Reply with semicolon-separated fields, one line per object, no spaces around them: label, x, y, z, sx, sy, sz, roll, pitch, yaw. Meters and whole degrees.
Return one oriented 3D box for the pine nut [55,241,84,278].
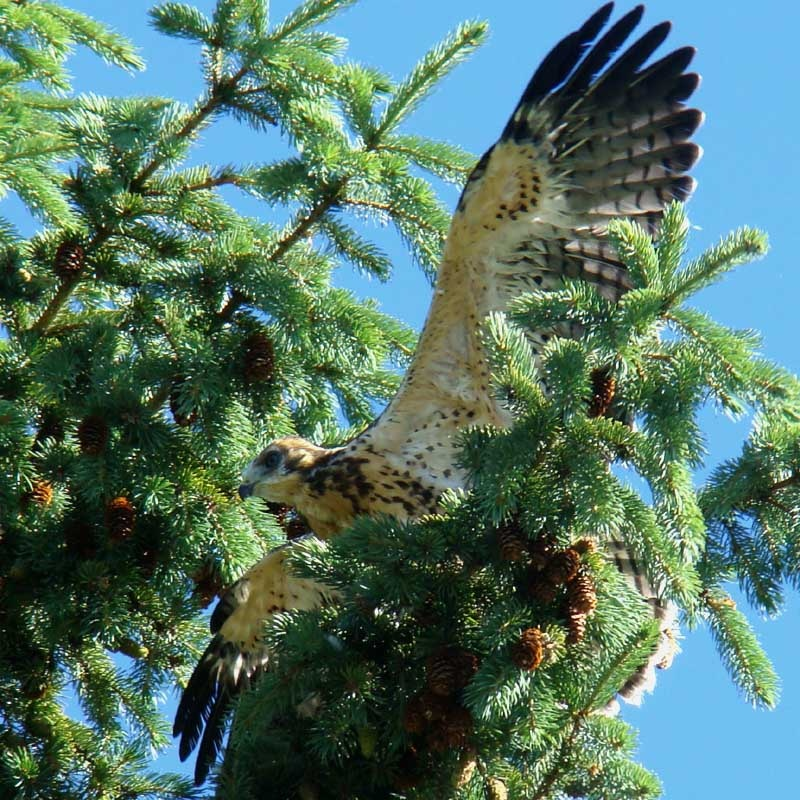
pine nut;-1.399;-0.587;10.137;0.107;0.052;0.152;5;-86;-4

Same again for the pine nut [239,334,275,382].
pine nut;-0.578;-0.170;9.870;0.109;0.113;0.199;-17;-97;31
